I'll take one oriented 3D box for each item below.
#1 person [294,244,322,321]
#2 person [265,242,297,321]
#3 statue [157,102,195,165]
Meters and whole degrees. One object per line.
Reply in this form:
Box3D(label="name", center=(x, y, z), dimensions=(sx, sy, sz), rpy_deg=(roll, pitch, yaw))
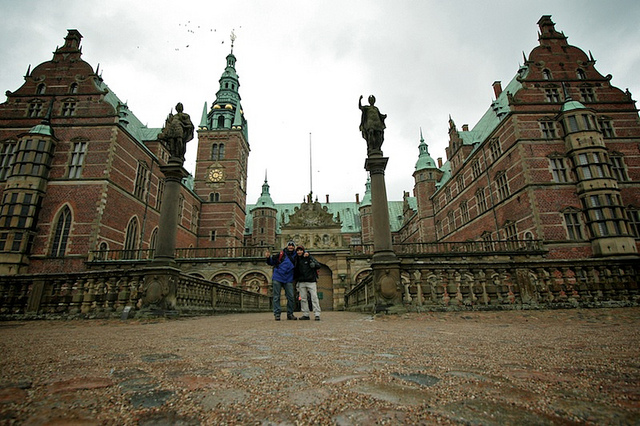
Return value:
Box3D(label="person", center=(-0.382, 1.943, 10.896), dimensions=(0.723, 2.082, 1.306), rpy_deg=(0, -1, -2))
Box3D(label="person", center=(-1.076, 1.821, 10.868), dimensions=(0.592, 2.076, 1.104), rpy_deg=(-1, -1, 30))
Box3D(label="statue", center=(-4.773, -2.711, 13.083), dimensions=(1.258, 1.965, 0.560), rpy_deg=(0, -9, -5))
